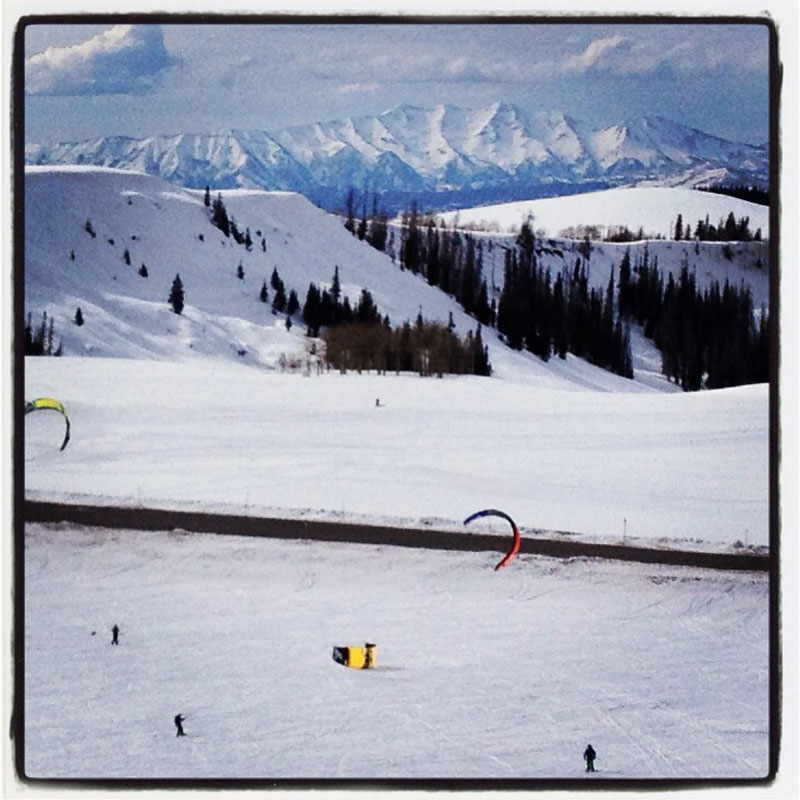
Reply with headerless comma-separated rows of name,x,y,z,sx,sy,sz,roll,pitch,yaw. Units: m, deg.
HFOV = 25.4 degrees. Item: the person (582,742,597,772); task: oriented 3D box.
person,3.948,7.380,36.760,0.255,0.638,0.897,2,10,6
